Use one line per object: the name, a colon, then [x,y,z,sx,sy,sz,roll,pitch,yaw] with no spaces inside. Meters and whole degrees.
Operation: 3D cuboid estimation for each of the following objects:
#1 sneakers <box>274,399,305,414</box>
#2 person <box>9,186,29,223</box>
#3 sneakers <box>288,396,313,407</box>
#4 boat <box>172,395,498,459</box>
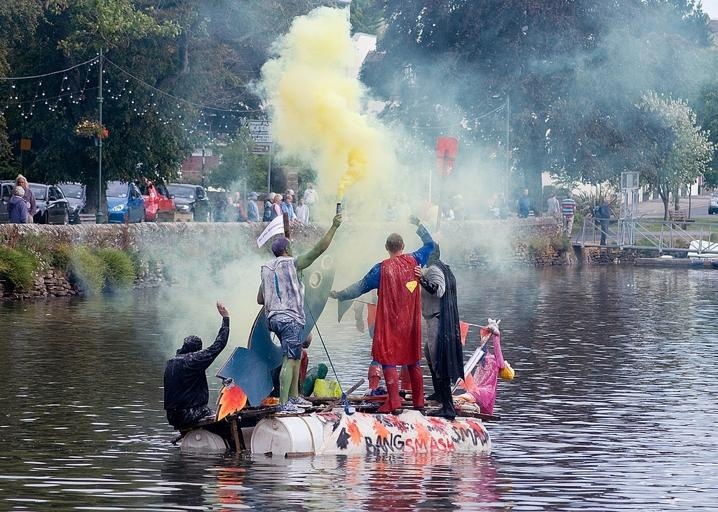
sneakers: [-1.386,3.004,29.027,0.547,0.282,0.239,-1,4,-8]
person: [-10.428,-1.445,44.354,0.562,1.012,0.949,2,-3,-18]
sneakers: [-1.163,2.924,29.183,0.475,0.231,0.202,1,3,-9]
boat: [-0.403,3.527,29.303,5.965,1.038,0.811,2,-3,-6]
